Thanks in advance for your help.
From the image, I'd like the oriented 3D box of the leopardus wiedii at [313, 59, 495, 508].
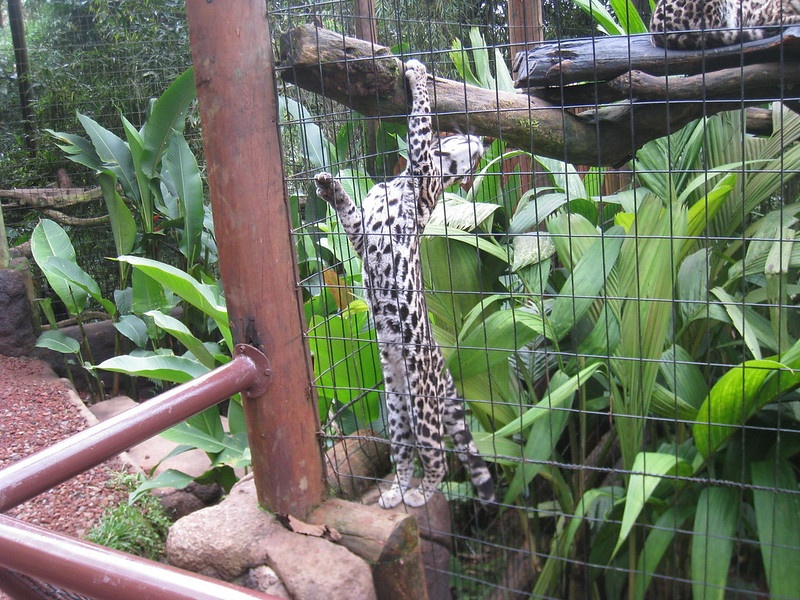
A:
[{"bbox_3d":[0.032,-0.005,3.996,0.438,2.629,1.258,1,10,26],"label":"leopardus wiedii"}]
